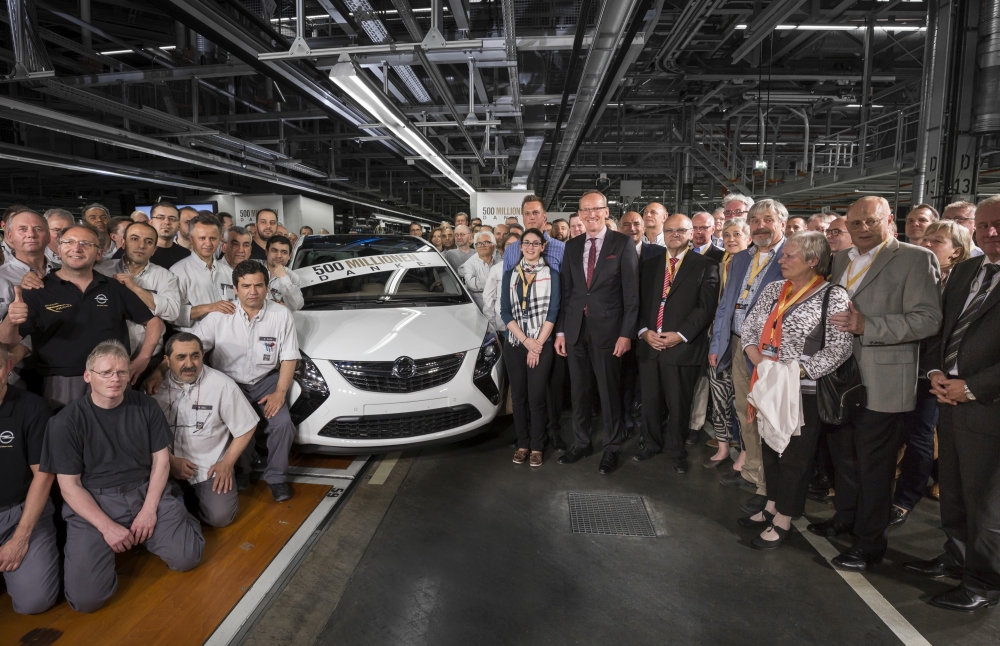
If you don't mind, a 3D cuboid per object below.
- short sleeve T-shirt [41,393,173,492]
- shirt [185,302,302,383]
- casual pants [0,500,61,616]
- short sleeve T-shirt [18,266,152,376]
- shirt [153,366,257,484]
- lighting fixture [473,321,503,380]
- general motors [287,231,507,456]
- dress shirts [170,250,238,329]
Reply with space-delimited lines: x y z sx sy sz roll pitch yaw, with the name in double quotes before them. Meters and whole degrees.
"short sleeve T-shirt" -3.005 0.935 4.517 0.754 0.613 0.269 -3 4 -33
"shirt" -2.343 0.136 5.554 0.974 0.759 0.431 5 21 -22
"casual pants" -3.383 1.701 4.401 0.438 0.772 0.200 -12 -8 -4
"short sleeve T-shirt" -3.522 -0.016 5.067 1.117 0.873 0.418 -7 -6 -40
"shirt" -2.631 0.895 5.133 1.026 0.996 0.482 -5 3 -5
"lighting fixture" -0.111 0.302 5.952 0.140 0.462 0.272 22 -21 -31
"general motors" -1.104 0.123 5.769 1.438 1.282 2.600 -3 7 -14
"dress shirts" -2.858 -0.303 5.730 0.411 0.756 0.734 -10 -4 39
